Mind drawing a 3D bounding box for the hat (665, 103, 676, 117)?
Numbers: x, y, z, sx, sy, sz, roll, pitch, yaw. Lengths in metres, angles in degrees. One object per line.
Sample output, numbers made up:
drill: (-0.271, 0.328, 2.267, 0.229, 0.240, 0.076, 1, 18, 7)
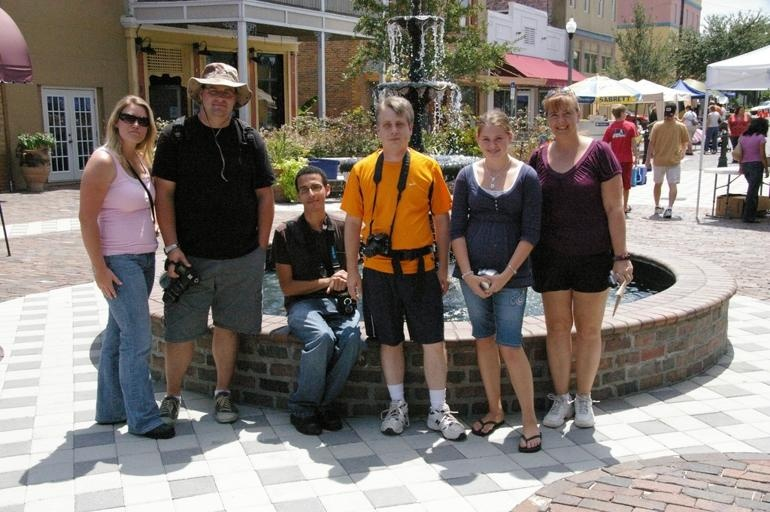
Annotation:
hat: (6.323, -3.221, 12.417, 0.218, 0.258, 0.573, 7, 17, 26)

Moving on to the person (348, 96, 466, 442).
person: (0.116, 0.091, 4.336, 0.889, 2.552, 0.702, 0, 15, 1)

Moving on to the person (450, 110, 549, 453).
person: (0.887, 0.156, 4.306, 0.863, 2.459, 0.685, 7, 17, 27)

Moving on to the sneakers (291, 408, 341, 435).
sneakers: (-0.554, 1.292, 4.494, 0.298, 0.116, 0.181, -2, 2, 43)

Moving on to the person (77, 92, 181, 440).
person: (-2.032, 0.071, 4.400, 0.642, 2.560, 0.876, -2, 15, -7)

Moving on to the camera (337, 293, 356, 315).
camera: (-0.326, 0.399, 4.737, 0.187, 0.185, 0.150, 0, -6, -6)

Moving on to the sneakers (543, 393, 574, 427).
sneakers: (1.422, 1.244, 4.639, 0.150, 0.188, 0.390, 4, 9, 35)

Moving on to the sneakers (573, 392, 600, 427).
sneakers: (1.609, 1.244, 4.480, 0.127, 0.128, 0.288, -1, 2, 9)

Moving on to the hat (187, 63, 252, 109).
hat: (-1.344, -1.409, 4.602, 0.481, 0.346, 0.467, -5, 16, -18)

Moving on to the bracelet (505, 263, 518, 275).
bracelet: (0.944, 0.098, 4.171, 0.065, 0.032, 0.087, 11, 39, -42)

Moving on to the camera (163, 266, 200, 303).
camera: (-1.630, 0.227, 4.432, 0.282, 0.281, 0.121, -28, -21, 22)

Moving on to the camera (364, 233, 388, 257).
camera: (-0.058, -0.088, 4.319, 0.211, 0.183, 0.113, 0, 15, 0)

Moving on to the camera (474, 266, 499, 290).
camera: (0.757, 0.154, 4.167, 0.112, 0.157, 0.067, 1, -6, 30)

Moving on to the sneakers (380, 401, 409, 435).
sneakers: (0.094, 1.282, 4.497, 0.146, 0.140, 0.309, -1, 1, 10)

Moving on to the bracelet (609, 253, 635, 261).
bracelet: (1.826, 0.002, 4.362, 0.119, 0.060, 0.094, 9, 18, 31)

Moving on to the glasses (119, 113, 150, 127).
glasses: (-1.927, -1.057, 4.355, 0.223, 0.098, 0.086, -8, 17, -26)

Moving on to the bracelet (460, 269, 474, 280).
bracelet: (0.638, 0.136, 4.264, 0.093, 0.073, 0.087, 2, 15, 10)

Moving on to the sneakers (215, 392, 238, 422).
sneakers: (-1.274, 1.229, 4.592, 0.123, 0.121, 0.306, -3, 15, -20)

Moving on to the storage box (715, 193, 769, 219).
storage box: (8.053, -1.160, 12.834, 0.736, 0.461, 0.754, 9, 15, 38)

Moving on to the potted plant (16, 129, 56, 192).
potted plant: (-10.919, -2.775, 17.716, 1.059, 1.445, 1.027, 1, 5, -26)

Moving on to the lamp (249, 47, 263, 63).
lamp: (-5.565, -8.889, 24.752, 0.457, 0.630, 0.615, -13, 20, -40)

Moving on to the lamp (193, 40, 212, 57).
lamp: (-7.563, -8.677, 23.470, 0.345, 0.531, 0.800, 5, 16, 21)

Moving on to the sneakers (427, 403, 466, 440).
sneakers: (0.489, 1.296, 4.457, 0.163, 0.161, 0.352, -5, 7, -37)

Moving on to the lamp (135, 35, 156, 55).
lamp: (-8.852, -7.873, 20.912, 0.394, 0.609, 0.564, 31, 6, 41)

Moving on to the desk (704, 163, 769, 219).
desk: (8.516, -1.542, 13.548, 1.500, 1.013, 2.050, 1, 9, 11)
